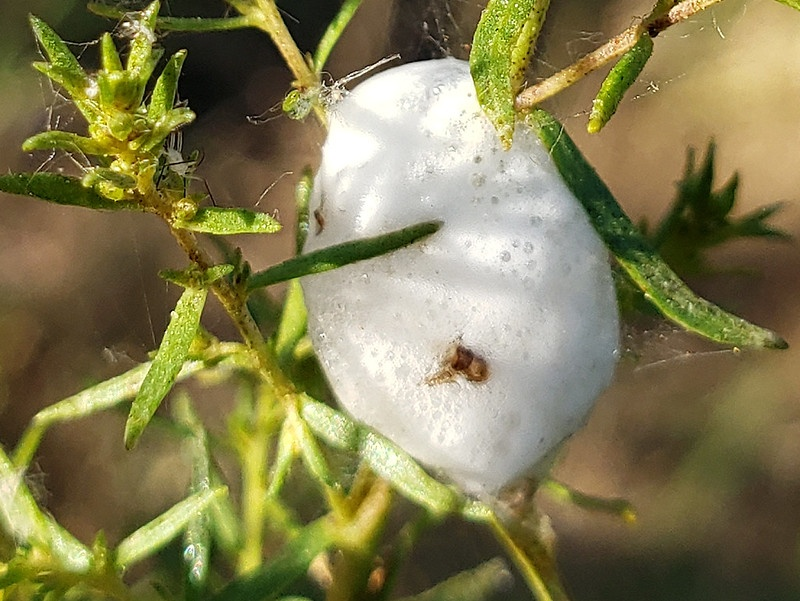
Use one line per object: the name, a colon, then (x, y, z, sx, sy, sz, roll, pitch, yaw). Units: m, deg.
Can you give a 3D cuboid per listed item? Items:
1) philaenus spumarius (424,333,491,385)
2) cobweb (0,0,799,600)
philaenus spumarius: (0.094, 0.092, 1.654, 0.077, 0.022, 0.060, -30, 80, -10)
cobweb: (0.034, 0.025, 1.699, 0.787, 0.266, 0.923, -1, 94, -7)
